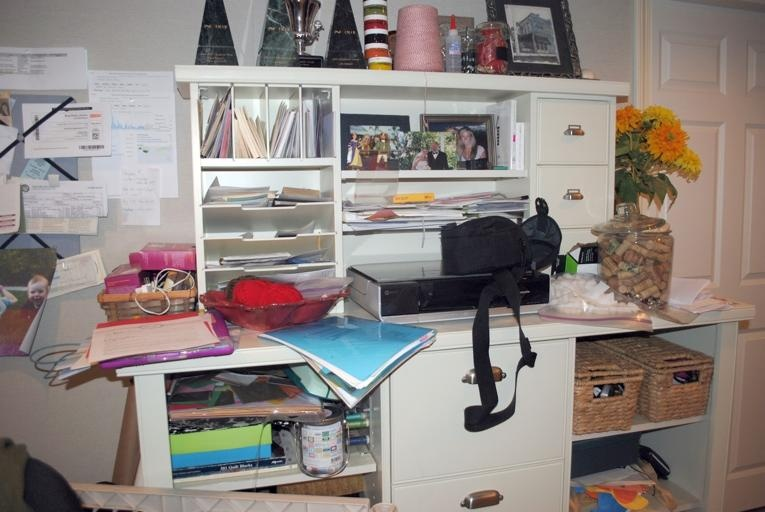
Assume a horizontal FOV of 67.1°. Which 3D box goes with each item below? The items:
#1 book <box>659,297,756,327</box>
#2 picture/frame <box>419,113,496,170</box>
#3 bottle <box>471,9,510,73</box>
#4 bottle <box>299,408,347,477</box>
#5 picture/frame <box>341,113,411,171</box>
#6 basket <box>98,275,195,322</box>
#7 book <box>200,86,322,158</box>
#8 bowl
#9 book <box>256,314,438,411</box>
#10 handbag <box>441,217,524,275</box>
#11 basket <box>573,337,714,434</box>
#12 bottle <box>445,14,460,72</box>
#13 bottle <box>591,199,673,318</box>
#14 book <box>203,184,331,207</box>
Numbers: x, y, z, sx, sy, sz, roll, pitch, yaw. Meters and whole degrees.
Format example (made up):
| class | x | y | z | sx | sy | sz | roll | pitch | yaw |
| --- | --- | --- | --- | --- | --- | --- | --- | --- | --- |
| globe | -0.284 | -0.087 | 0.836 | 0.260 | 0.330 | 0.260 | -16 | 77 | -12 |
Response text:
| class | x | y | z | sx | sy | sz | roll | pitch | yaw |
| --- | --- | --- | --- | --- | --- | --- | --- | --- | --- |
| book | 1.220 | 0.209 | 2.213 | 0.196 | 0.041 | 0.176 | -5 | 7 | -33 |
| picture/frame | 0.304 | -0.465 | 2.387 | 0.260 | 0.195 | 0.026 | -1 | -2 | -4 |
| bottle | 0.452 | -0.859 | 2.402 | 0.153 | 0.203 | 0.134 | -14 | 18 | -18 |
| bottle | -0.224 | 0.661 | 2.084 | 0.189 | 0.192 | 0.191 | -2 | 1 | 7 |
| picture/frame | -0.038 | -0.451 | 2.328 | 0.287 | 0.220 | 0.028 | 2 | -17 | -8 |
| basket | -0.877 | 0.166 | 2.162 | 0.222 | 0.100 | 0.272 | -3 | 1 | -5 |
| book | -0.457 | -0.521 | 2.270 | 0.514 | 0.290 | 0.289 | -6 | 11 | -8 |
| bowl | -0.495 | 0.187 | 2.148 | 0.396 | 0.084 | 0.395 | 5 | 7 | -1 |
| book | -0.132 | 0.301 | 1.950 | 0.386 | 0.090 | 0.392 | -8 | 12 | -39 |
| handbag | 0.353 | -0.028 | 2.267 | 0.438 | 0.196 | 0.316 | -4 | -1 | -12 |
| basket | 1.007 | 0.499 | 2.258 | 0.418 | 0.162 | 0.398 | -2 | 10 | -9 |
| bottle | 0.285 | -0.864 | 2.352 | 0.068 | 0.242 | 0.155 | -3 | 11 | 9 |
| bottle | 1.005 | -0.007 | 2.316 | 0.273 | 0.393 | 0.265 | -11 | 14 | 3 |
| book | -0.451 | -0.239 | 2.252 | 0.476 | 0.086 | 0.202 | -6 | 11 | -9 |
